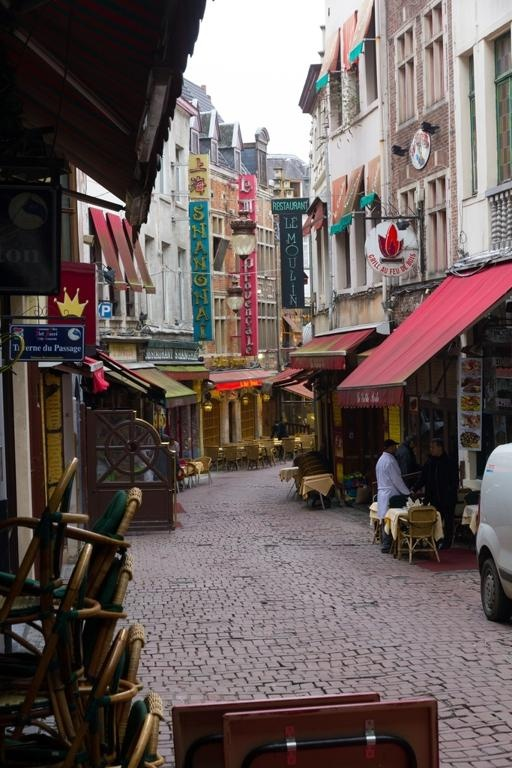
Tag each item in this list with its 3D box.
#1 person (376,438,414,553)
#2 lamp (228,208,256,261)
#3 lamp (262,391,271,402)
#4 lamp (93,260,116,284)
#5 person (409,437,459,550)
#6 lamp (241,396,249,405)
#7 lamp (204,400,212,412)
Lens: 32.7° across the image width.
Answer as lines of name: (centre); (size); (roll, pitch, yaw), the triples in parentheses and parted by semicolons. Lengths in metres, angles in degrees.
person: (2.453, 1.979, 15.152); (0.556, 1.932, 1.588); (-2, -3, 9)
lamp: (-0.376, -4.358, 25.230); (0.697, 1.354, 2.214); (-1, -3, -2)
lamp: (0.728, 0.981, 54.275); (0.751, 0.666, 0.753); (3, -4, 1)
lamp: (-4.378, -3.178, 24.841); (0.509, 0.828, 1.775); (-1, -4, -9)
person: (3.185, 1.907, 14.794); (0.664, 1.874, 0.676); (-2, -3, 10)
lamp: (-0.605, 1.046, 50.806); (0.421, 0.660, 0.429); (0, -2, -11)
lamp: (-2.521, 1.193, 44.136); (0.429, 0.497, 0.458); (-3, -4, 21)
